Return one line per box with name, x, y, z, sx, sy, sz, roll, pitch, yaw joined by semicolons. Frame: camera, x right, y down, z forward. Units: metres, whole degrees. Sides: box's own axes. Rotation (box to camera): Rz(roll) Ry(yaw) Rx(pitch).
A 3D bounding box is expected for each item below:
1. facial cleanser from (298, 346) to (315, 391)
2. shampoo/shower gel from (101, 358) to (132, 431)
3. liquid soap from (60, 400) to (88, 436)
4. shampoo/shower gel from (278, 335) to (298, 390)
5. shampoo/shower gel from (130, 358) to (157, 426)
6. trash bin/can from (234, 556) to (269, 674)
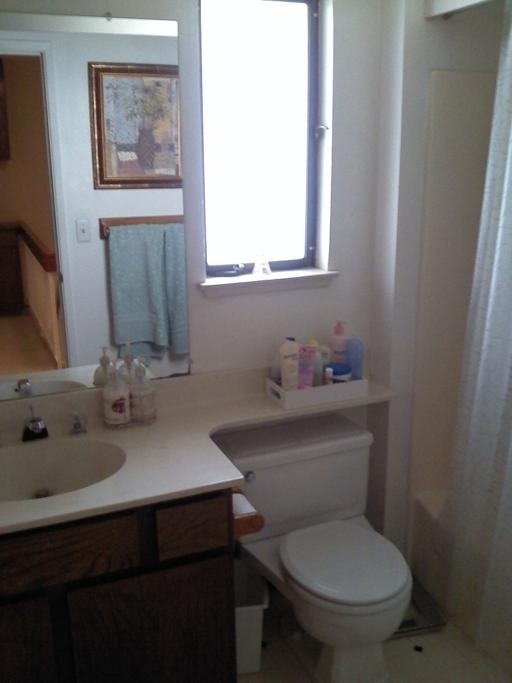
facial cleanser;0.157;0.078;1.770;0.050;0.126;0.070;1;12;5
shampoo/shower gel;-0.383;0.143;1.535;0.072;0.176;0.076;-4;10;-23
liquid soap;-0.497;0.221;1.566;0.059;0.108;0.092;1;23;-14
shampoo/shower gel;0.104;0.070;1.758;0.066;0.142;0.091;6;14;28
shampoo/shower gel;-0.325;0.150;1.629;0.063;0.191;0.053;-6;22;-32
trash bin/can;-0.024;0.826;1.715;0.105;0.315;0.160;0;12;-8
